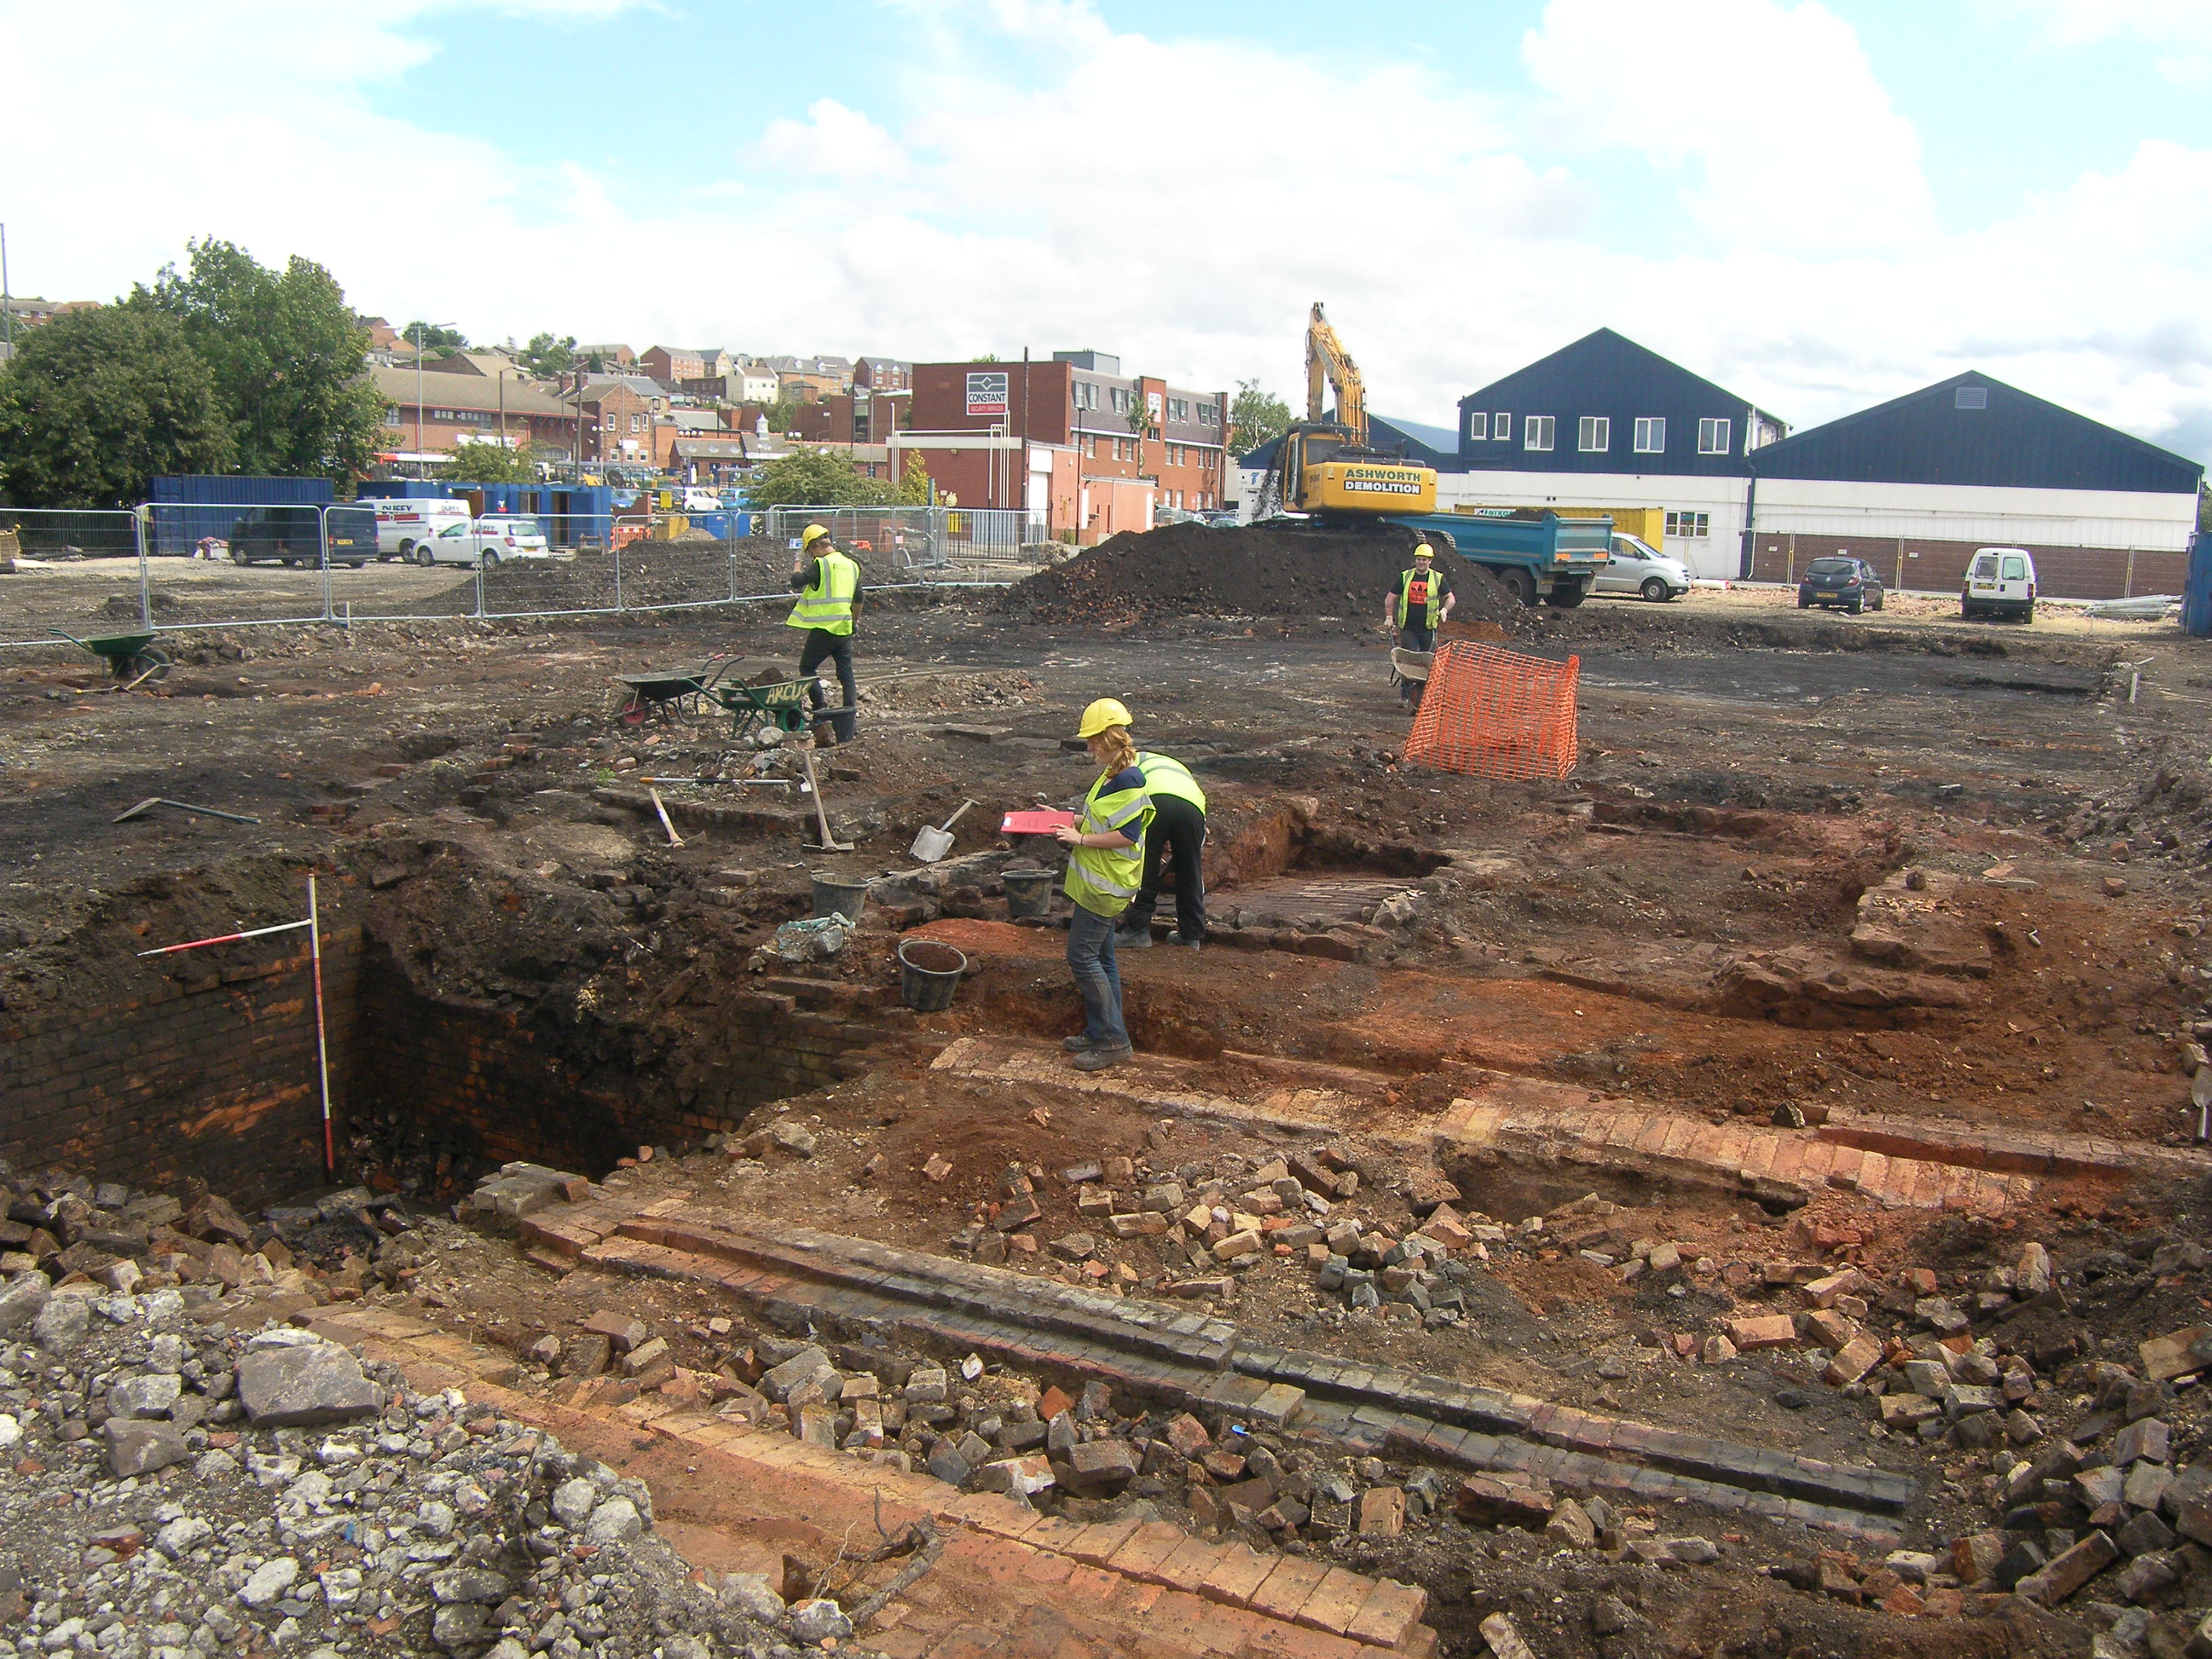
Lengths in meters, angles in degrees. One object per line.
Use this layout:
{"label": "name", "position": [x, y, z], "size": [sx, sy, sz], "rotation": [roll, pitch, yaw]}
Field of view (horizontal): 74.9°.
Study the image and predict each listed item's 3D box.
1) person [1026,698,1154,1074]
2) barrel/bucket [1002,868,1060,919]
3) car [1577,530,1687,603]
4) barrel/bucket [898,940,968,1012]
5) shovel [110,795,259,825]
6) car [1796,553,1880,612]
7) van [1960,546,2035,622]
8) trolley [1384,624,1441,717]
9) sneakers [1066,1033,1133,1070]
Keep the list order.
{"label": "person", "position": [-0.013, 0.316, 8.177], "size": [0.488, 2.091, 0.535], "rotation": [0, 12, -1]}
{"label": "barrel/bucket", "position": [-0.519, 0.466, 10.116], "size": [0.385, 0.226, 0.342], "rotation": [-1, 2, -4]}
{"label": "car", "position": [14.335, -7.063, 38.665], "size": [3.708, 1.557, 1.830], "rotation": [0, 15, 14]}
{"label": "barrel/bucket", "position": [-1.082, 0.925, 9.024], "size": [0.396, 0.388, 0.356], "rotation": [-3, 12, -17]}
{"label": "shovel", "position": [-7.135, -0.165, 11.256], "size": [0.940, 0.135, 1.083], "rotation": [-4, 11, -25]}
{"label": "car", "position": [20.632, -6.929, 40.193], "size": [1.488, 0.988, 2.685], "rotation": [7, 19, 29]}
{"label": "van", "position": [22.661, -6.184, 36.540], "size": [1.691, 1.794, 1.229], "rotation": [1, 11, 5]}
{"label": "trolley", "position": [4.212, -2.293, 19.497], "size": [0.808, 0.726, 1.188], "rotation": [6, 36, 5]}
{"label": "sneakers", "position": [-0.020, 1.300, 8.357], "size": [0.333, 0.120, 0.165], "rotation": [3, 10, -13]}
